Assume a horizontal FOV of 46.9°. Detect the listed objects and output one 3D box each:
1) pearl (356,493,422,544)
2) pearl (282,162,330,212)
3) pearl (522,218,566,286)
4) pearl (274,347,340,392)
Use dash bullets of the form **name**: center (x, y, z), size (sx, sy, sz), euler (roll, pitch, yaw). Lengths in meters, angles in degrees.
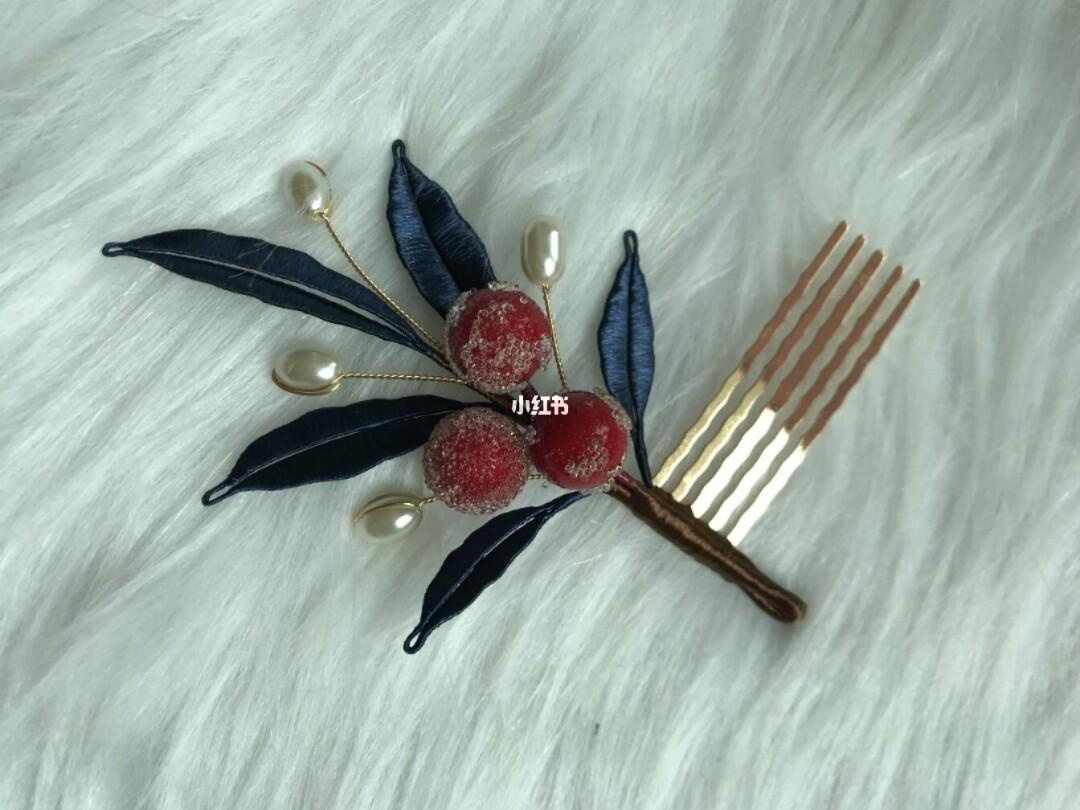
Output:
- **pearl**: center (-0.211, 0.157, 1.747), size (0.097, 0.031, 0.065), euler (-5, 81, 2)
- **pearl**: center (-0.328, -0.303, 1.758), size (0.057, 0.030, 0.072), euler (-13, 81, 1)
- **pearl**: center (0.005, -0.213, 1.750), size (0.056, 0.024, 0.091), euler (-2, 93, -1)
- **pearl**: center (-0.327, -0.046, 1.750), size (0.097, 0.038, 0.062), euler (11, 82, 4)
